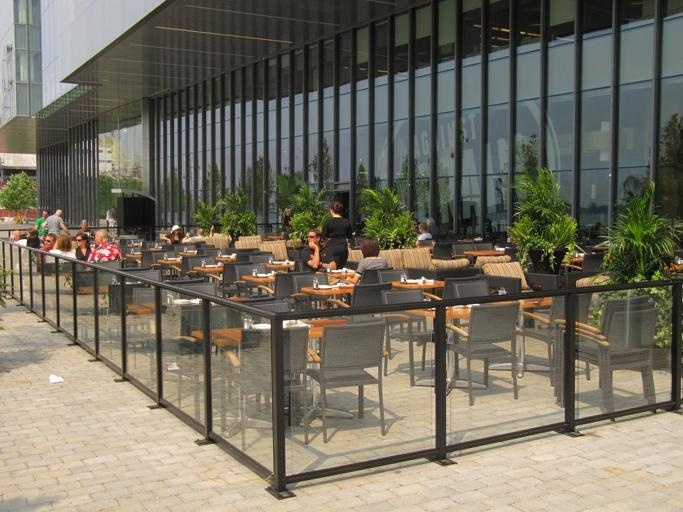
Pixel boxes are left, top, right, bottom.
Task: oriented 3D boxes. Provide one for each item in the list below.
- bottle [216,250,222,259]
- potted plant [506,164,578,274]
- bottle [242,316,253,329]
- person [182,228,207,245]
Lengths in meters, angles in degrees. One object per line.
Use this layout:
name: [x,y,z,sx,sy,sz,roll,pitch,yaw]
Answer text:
bottle: [-3.402,-0.074,16.774,0.246,0.212,0.209,1,-3,-7]
potted plant: [4.784,-0.590,14.030,1.755,2.246,1.411,-2,8,-4]
bottle: [-0.817,0.597,5.278,0.010,0.106,0.172,-6,7,-35]
person: [-5.489,-0.662,22.188,0.927,0.438,1.161,-1,4,-27]
